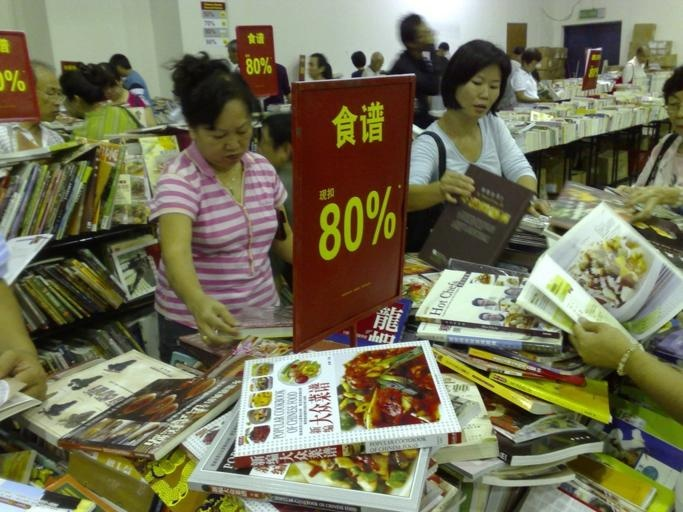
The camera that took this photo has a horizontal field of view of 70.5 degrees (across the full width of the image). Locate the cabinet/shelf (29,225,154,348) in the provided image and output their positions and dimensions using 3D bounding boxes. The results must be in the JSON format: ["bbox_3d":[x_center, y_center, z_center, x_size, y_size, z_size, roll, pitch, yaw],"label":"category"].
[{"bbox_3d":[-1.465,0.168,2.811,0.483,0.190,0.652,8,32,39],"label":"cabinet/shelf"}]
